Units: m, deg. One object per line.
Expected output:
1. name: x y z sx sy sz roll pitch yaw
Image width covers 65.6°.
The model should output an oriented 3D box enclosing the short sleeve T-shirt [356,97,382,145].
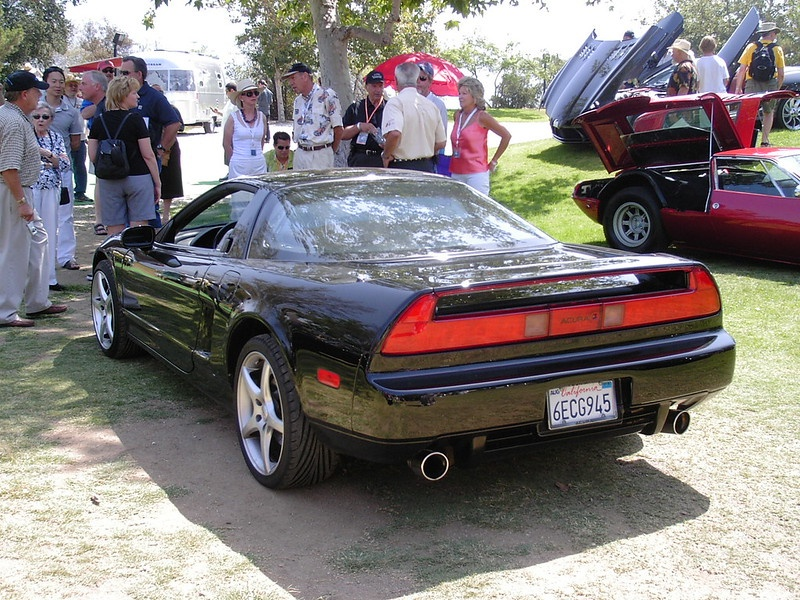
1. short sleeve T-shirt: -0.413 -2.346 8.184 0.315 0.557 0.419 0 13 -3

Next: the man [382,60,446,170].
1. man: 0.167 -2.161 7.300 0.852 1.250 0.350 -11 18 -41

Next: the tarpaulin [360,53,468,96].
1. tarpaulin: 0.614 -6.505 18.294 2.126 0.615 2.099 -1 3 -10

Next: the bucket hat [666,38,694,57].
1. bucket hat: 5.102 -4.636 11.267 0.292 0.341 0.670 7 14 27

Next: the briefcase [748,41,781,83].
1. briefcase: 7.511 -4.992 12.885 0.491 0.812 0.270 7 15 26

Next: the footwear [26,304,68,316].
1. footwear: -3.733 0.110 6.592 0.337 0.121 0.120 -11 22 -36

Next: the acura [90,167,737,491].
1. acura: -0.388 0.089 3.843 1.868 0.966 3.343 -7 13 -34

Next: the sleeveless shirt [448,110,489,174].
1. sleeveless shirt: 0.853 -1.960 7.594 0.467 0.780 0.602 -14 19 -36

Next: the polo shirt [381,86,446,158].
1. polo shirt: 0.143 -2.112 7.389 0.956 0.817 0.452 -12 19 -42

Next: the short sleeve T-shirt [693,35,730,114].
1. short sleeve T-shirt: 6.216 -4.586 12.571 0.846 1.503 0.621 -13 12 -8

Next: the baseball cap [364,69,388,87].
1. baseball cap: -0.351 -2.975 8.227 0.207 0.140 0.272 -1 -2 -20

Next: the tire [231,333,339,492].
1. tire: -0.559 0.577 3.145 0.268 0.664 0.672 6 16 -38
